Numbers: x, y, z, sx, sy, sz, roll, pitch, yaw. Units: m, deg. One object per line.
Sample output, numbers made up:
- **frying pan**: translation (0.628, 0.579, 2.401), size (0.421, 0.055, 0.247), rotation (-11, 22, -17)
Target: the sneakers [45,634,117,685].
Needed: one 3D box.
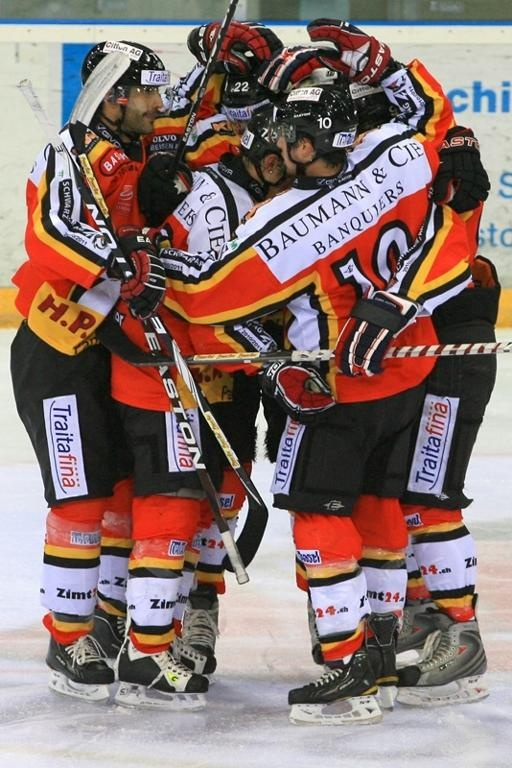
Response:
- **sneakers**: translation (-0.433, 0.647, 1.815), size (0.208, 0.086, 0.071), rotation (-2, -10, 41)

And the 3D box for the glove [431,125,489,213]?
- **glove**: translation (0.486, -0.493, 1.823), size (0.179, 0.195, 0.100), rotation (0, -1, -4)

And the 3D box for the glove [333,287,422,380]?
- **glove**: translation (0.240, -0.101, 1.546), size (0.150, 0.177, 0.073), rotation (26, 3, -5)

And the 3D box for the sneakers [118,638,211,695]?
- **sneakers**: translation (-0.214, 0.663, 1.796), size (0.261, 0.143, 0.091), rotation (2, -2, -3)

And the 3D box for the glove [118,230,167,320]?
- **glove**: translation (-0.243, -0.240, 1.681), size (0.118, 0.173, 0.082), rotation (-17, -2, 27)

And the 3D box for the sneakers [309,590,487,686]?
- **sneakers**: translation (0.413, 0.586, 1.917), size (0.319, 0.174, 0.231), rotation (-4, -10, -7)

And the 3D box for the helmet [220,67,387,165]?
- **helmet**: translation (0.126, -0.596, 1.683), size (0.432, 0.176, 0.286), rotation (0, 24, 10)

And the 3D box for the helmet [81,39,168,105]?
- **helmet**: translation (-0.334, -0.760, 1.815), size (0.216, 0.148, 0.140), rotation (8, 39, -11)

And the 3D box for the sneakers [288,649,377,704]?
- **sneakers**: translation (0.148, 0.640, 1.638), size (0.248, 0.120, 0.070), rotation (6, -14, -26)

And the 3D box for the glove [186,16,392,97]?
- **glove**: translation (0.060, -0.831, 1.904), size (0.486, 0.139, 0.285), rotation (-7, 15, 17)

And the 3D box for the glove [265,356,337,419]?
- **glove**: translation (0.091, 0.014, 1.664), size (0.117, 0.065, 0.143), rotation (-15, 43, -28)
